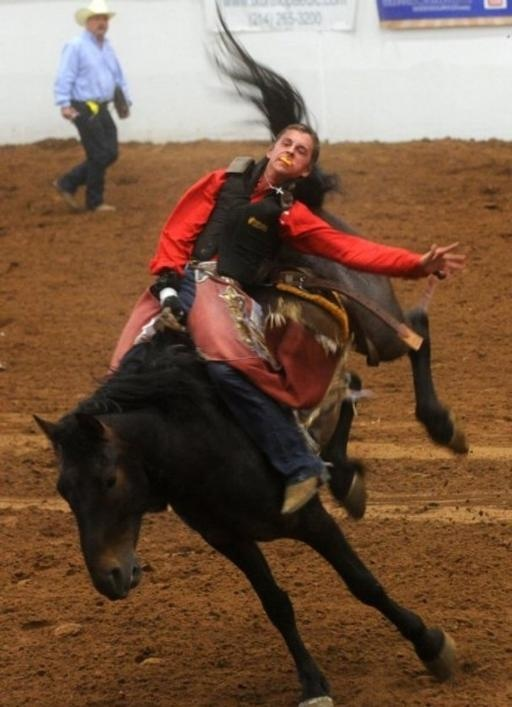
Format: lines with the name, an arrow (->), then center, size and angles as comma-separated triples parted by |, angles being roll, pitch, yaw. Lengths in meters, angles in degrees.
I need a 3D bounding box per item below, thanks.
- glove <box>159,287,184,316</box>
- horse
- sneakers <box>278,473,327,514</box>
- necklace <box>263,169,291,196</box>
glove -> -0.316, -0.192, 3.134 | 0.082, 0.112, 0.093 | -25, -17, -5
horse -> 0.040, 0.006, 3.239 | 1.380, 2.691, 1.965 | 0, 23, 12
sneakers -> 0.159, 0.492, 2.906 | 0.080, 0.084, 0.200 | 8, 34, 45
necklace -> 0.092, -0.694, 3.328 | 0.122, 0.061, 0.095 | 34, 22, 19
